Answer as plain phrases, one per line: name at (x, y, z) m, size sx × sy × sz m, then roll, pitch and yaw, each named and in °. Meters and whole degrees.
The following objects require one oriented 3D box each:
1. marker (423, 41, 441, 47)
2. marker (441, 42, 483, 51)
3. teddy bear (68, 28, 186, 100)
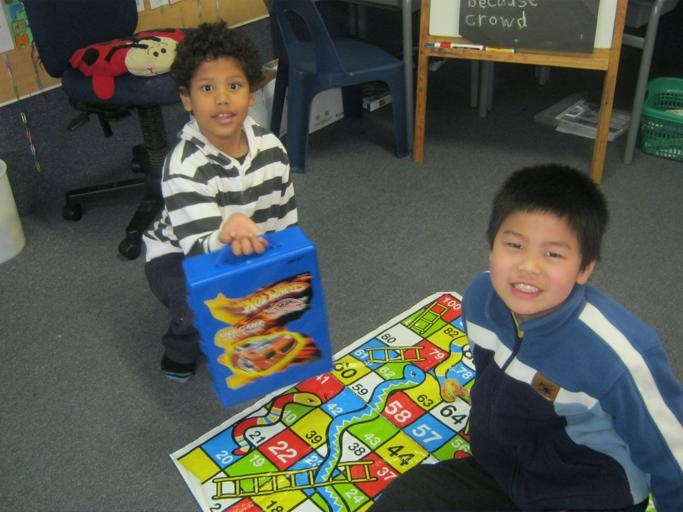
marker at (0.408, -0.955, 2.574) m, size 0.051 × 0.012 × 0.013 m, roll -3°, pitch 61°, yaw 15°
marker at (0.537, -0.933, 2.536) m, size 0.164 × 0.032 × 0.033 m, roll 7°, pitch 76°, yaw 13°
teddy bear at (-0.811, -0.672, 2.181) m, size 0.347 × 0.090 × 0.354 m, roll 10°, pitch 45°, yaw 15°
